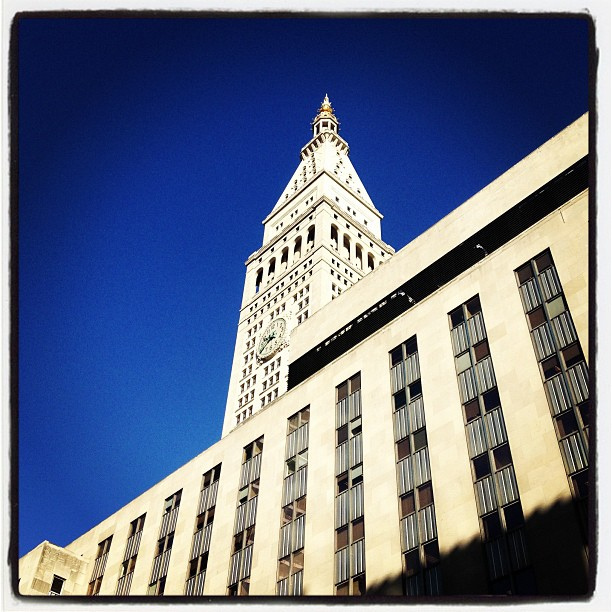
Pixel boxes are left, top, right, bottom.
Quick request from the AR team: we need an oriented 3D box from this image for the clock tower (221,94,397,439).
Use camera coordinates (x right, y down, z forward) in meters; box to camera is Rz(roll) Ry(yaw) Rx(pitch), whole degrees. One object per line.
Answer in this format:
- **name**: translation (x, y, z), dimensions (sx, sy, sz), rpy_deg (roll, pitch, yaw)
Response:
- **clock tower**: translation (4.131, -13.046, 155.866), dimensions (34.300, 112.032, 44.601), rpy_deg (4, -37, 0)
